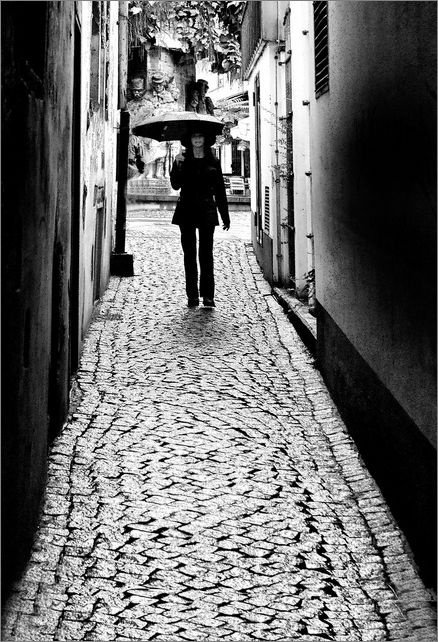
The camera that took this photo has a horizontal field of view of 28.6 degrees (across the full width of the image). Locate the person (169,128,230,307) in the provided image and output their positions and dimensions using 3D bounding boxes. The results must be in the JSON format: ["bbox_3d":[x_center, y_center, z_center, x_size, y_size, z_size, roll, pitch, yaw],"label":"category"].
[{"bbox_3d":[-0.212,-1.103,9.281,0.638,1.874,0.551,1,6,-5],"label":"person"}]

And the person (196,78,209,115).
[{"bbox_3d":[-0.515,-7.202,27.435,0.535,1.074,0.372,-4,8,-43],"label":"person"}]
